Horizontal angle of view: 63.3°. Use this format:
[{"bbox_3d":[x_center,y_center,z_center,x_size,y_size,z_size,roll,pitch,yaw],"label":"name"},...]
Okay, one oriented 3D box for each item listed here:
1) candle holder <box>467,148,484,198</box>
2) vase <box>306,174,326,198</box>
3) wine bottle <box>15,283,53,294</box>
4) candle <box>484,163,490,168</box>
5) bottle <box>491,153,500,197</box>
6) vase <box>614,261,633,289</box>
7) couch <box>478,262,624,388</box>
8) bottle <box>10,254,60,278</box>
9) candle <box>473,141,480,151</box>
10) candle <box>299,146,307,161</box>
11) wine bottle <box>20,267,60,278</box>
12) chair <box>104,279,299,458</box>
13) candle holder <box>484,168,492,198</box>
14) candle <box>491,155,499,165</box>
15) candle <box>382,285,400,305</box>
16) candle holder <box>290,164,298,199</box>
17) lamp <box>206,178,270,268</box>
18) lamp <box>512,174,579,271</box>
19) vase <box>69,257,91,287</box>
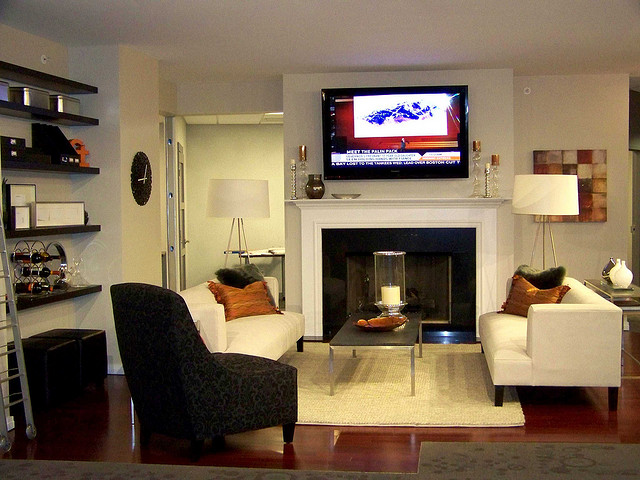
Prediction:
[{"bbox_3d":[1.845,-0.910,6.113,0.190,0.530,0.203,0,36,15],"label":"candle holder"},{"bbox_3d":[-0.060,-0.633,6.150,0.235,0.265,0.232,-5,7,-42],"label":"vase"},{"bbox_3d":[-2.510,0.434,4.589,0.235,0.079,0.076,2,-19,-9],"label":"wine bottle"},{"bbox_3d":[1.940,-0.859,6.034,0.052,0.064,0.053,-3,9,-18],"label":"candle"},{"bbox_3d":[2.049,-0.763,6.078,0.094,0.510,0.199,0,4,17],"label":"bottle"},{"bbox_3d":[2.861,0.350,4.913,0.180,0.312,0.185,2,1,44],"label":"vase"},{"bbox_3d":[1.891,0.308,4.396,0.872,0.911,2.024,0,2,12],"label":"couch"},{"bbox_3d":[-2.534,0.225,4.587,0.211,0.070,0.226,-2,-39,-1],"label":"bottle"},{"bbox_3d":[1.798,-1.080,5.981,0.085,0.107,0.089,3,4,28],"label":"candle"},{"bbox_3d":[-0.202,-1.033,6.219,0.084,0.180,0.200,-1,4,1],"label":"candle"},{"bbox_3d":[-2.506,0.288,4.651,0.274,0.092,0.087,2,7,-12],"label":"wine bottle"},{"bbox_3d":[-0.862,0.858,3.661,0.833,1.199,1.103,-8,-6,42],"label":"chair"},{"bbox_3d":[1.950,-0.662,6.037,0.083,0.343,0.230,0,5,17],"label":"candle holder"},{"bbox_3d":[2.033,-0.933,6.049,0.084,0.118,0.158,1,5,18],"label":"candle"},{"bbox_3d":[0.694,0.547,5.125,0.159,0.169,0.161,-1,4,-19],"label":"candle"},{"bbox_3d":[-0.320,-0.699,6.257,0.098,0.413,0.094,-3,5,-25],"label":"candle holder"},{"bbox_3d":[-0.863,-0.204,5.422,0.562,0.883,0.589,3,11,-10],"label":"lamp"},{"bbox_3d":[2.257,-0.369,5.206,0.448,0.764,0.477,1,-3,1],"label":"lamp"},{"bbox_3d":[-2.413,0.332,5.199,0.239,0.292,0.250,0,-5,-8],"label":"vase"}]
